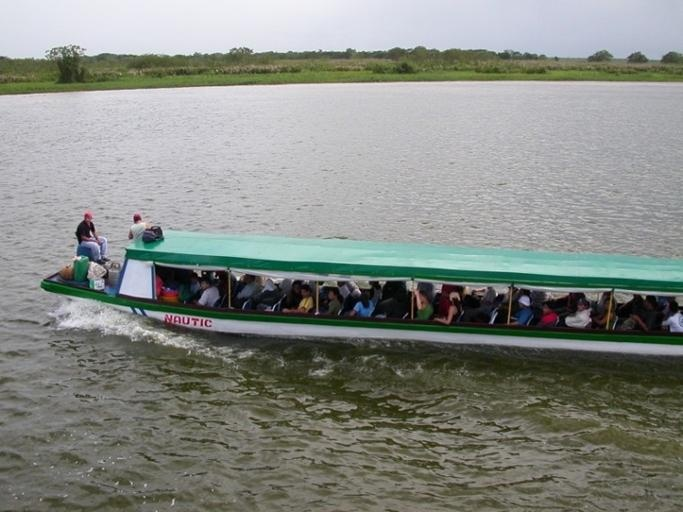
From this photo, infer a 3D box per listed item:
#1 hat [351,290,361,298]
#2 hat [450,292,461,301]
[{"bbox_3d":[0.534,1.450,31.131,0.434,0.259,0.198,3,-14,-12],"label":"hat"},{"bbox_3d":[4.252,1.491,30.230,0.369,0.360,0.271,-1,17,-7],"label":"hat"}]
